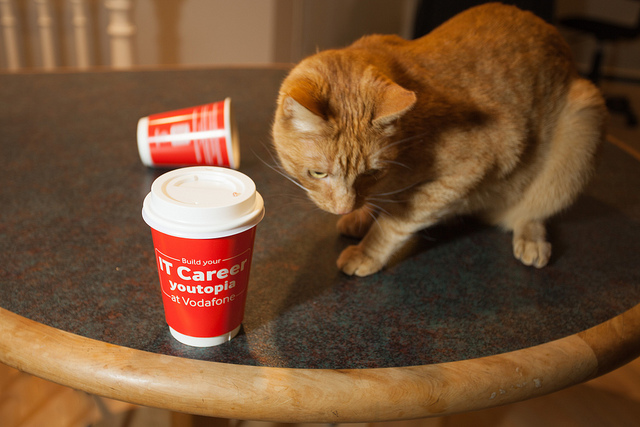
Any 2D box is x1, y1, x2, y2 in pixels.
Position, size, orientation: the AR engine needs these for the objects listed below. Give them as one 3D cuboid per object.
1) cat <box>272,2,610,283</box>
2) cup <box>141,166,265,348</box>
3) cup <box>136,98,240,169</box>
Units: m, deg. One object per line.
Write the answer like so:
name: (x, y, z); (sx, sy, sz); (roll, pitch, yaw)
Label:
cat: (0.265, -0.156, 1.528); (0.851, 0.530, 0.556); (-17, 38, 3)
cup: (-0.217, 0.083, 1.134); (0.213, 0.312, 0.173); (-11, 32, -20)
cup: (-0.346, -0.203, 1.570); (0.261, 0.213, 0.225); (0, 38, -7)
